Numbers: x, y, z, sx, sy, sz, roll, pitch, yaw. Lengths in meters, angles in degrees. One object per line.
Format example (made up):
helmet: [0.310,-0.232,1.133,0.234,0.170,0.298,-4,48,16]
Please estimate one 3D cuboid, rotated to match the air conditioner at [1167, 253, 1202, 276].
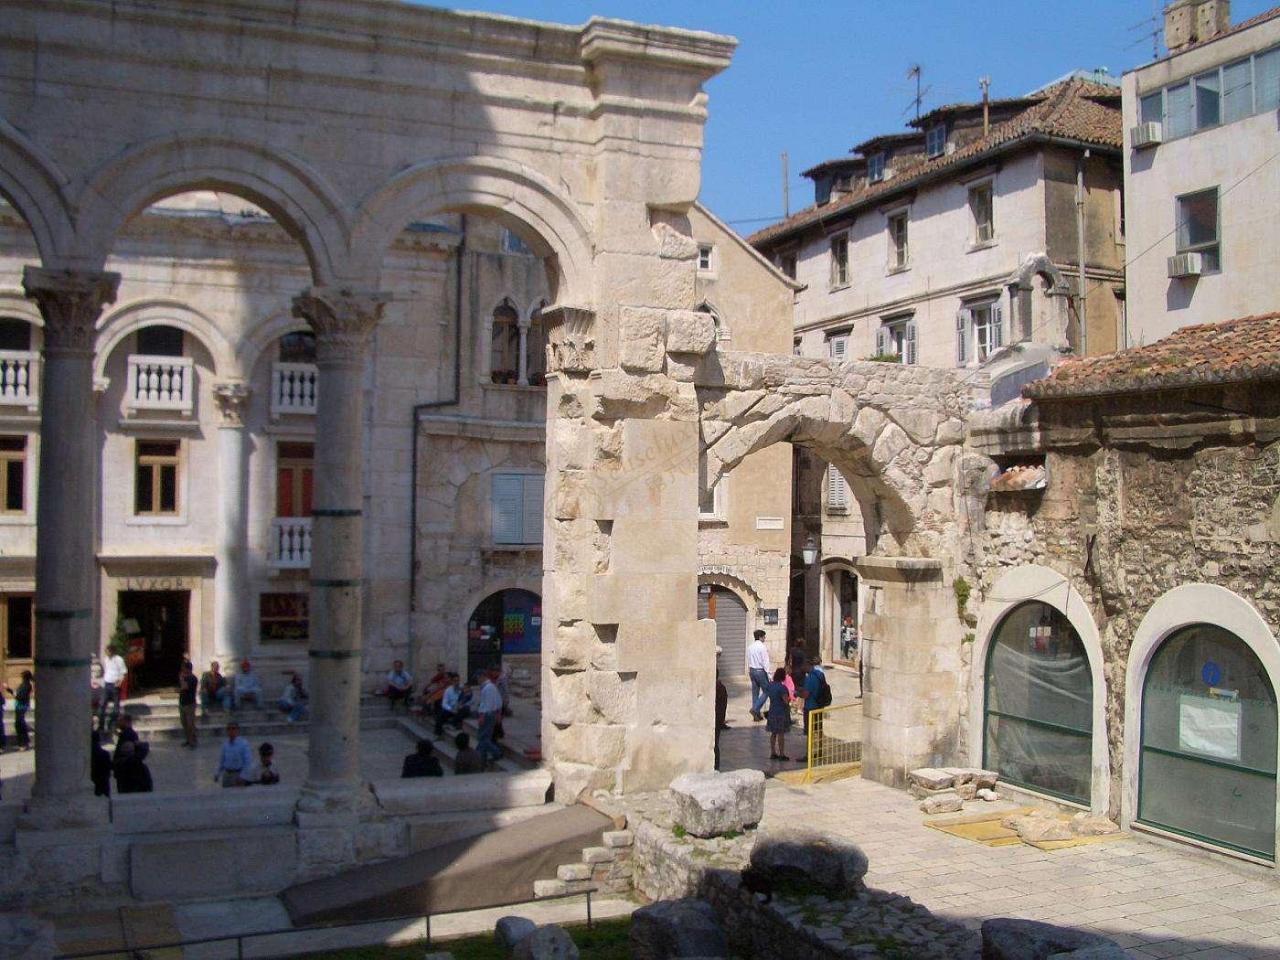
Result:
air conditioner: [11.346,-4.454,33.392,0.410,0.580,0.773,1,-1,-19]
